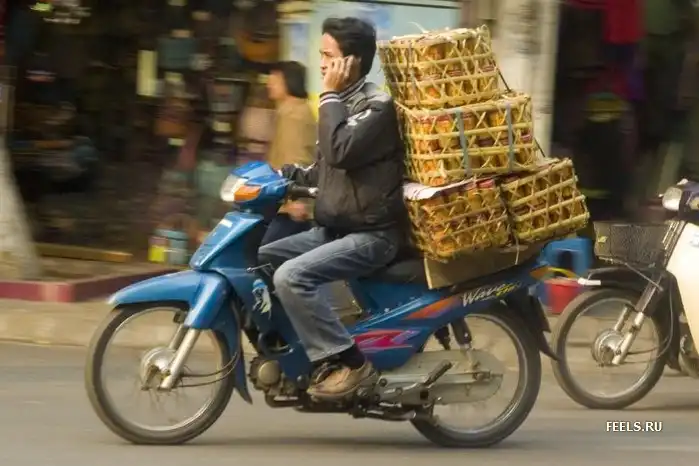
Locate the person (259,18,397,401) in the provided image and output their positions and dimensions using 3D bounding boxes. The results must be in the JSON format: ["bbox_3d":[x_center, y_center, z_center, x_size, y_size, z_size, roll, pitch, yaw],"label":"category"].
[{"bbox_3d":[-0.067,-0.169,5.490,0.832,2.439,0.746,7,15,8],"label":"person"}]

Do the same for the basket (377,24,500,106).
[{"bbox_3d":[0.721,-1.108,5.594,0.599,0.331,0.537,-17,14,-30],"label":"basket"}]

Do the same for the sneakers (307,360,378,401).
[{"bbox_3d":[-0.033,0.967,5.574,0.490,0.163,0.181,-18,3,-8],"label":"sneakers"}]

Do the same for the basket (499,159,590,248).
[{"bbox_3d":[1.383,-0.256,5.753,0.410,0.359,0.449,-16,-1,-1],"label":"basket"}]

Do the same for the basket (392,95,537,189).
[{"bbox_3d":[0.765,-0.580,5.401,0.853,0.403,0.556,-6,4,-6],"label":"basket"}]

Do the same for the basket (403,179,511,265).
[{"bbox_3d":[0.688,-0.089,5.686,0.651,0.400,0.586,-11,3,-12],"label":"basket"}]
